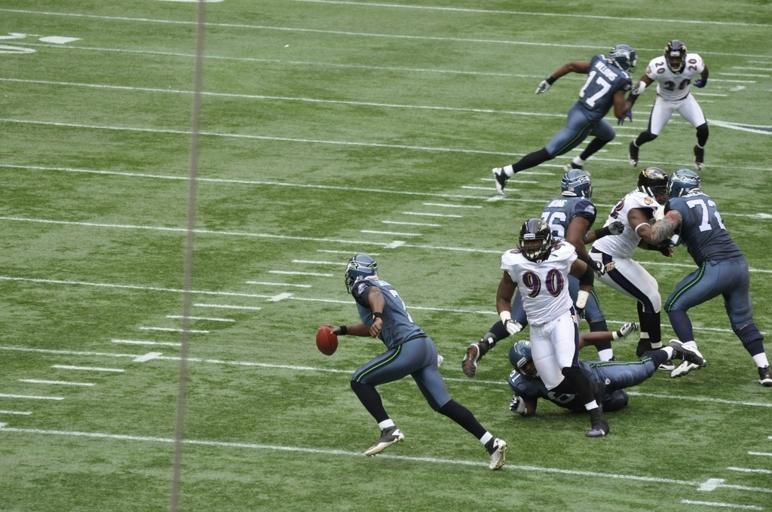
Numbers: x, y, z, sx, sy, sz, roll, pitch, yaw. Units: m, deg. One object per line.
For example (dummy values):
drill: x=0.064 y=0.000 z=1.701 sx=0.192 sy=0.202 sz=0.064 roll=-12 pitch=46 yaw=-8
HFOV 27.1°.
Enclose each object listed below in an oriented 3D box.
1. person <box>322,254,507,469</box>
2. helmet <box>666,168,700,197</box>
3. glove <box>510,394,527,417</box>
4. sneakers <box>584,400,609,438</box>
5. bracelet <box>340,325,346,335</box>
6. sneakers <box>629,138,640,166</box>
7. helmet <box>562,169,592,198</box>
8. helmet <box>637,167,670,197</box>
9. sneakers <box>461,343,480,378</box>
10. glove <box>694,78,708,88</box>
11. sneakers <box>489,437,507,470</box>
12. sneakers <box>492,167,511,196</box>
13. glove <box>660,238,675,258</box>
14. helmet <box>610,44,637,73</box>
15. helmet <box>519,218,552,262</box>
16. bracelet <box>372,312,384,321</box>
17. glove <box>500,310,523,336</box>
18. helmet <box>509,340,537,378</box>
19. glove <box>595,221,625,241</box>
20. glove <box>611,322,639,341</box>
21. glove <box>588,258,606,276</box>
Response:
person: x=0.212 y=1.030 z=15.710 sx=1.712 sy=1.971 sz=0.703 roll=5 pitch=12 yaw=26
helmet: x=3.193 y=-0.766 z=17.264 sx=0.311 sy=0.289 sz=0.395 roll=1 pitch=9 yaw=4
glove: x=1.342 y=1.535 z=16.387 sx=0.169 sy=0.136 sz=0.236 roll=9 pitch=-12 yaw=15
sneakers: x=2.112 y=1.623 z=16.070 sx=0.225 sy=0.362 sz=0.253 roll=2 pitch=10 yaw=9
bracelet: x=-0.425 y=0.735 z=16.065 sx=0.097 sy=0.066 sz=0.080 roll=0 pitch=-10 yaw=1
sneakers: x=3.409 y=-1.417 z=22.189 sx=0.171 sy=0.338 sz=0.178 roll=-3 pitch=12 yaw=-3
helmet: x=2.082 y=-0.788 z=17.473 sx=0.405 sy=0.276 sz=0.315 roll=-6 pitch=10 yaw=-38
helmet: x=2.870 y=-0.822 z=17.406 sx=0.413 sy=0.284 sz=0.268 roll=-12 pitch=36 yaw=-1
sneakers: x=0.832 y=1.090 z=16.652 sx=0.217 sy=0.324 sz=0.184 roll=5 pitch=12 yaw=0
glove: x=4.470 y=-2.471 z=22.933 sx=0.155 sy=0.110 sz=0.301 roll=-4 pitch=2 yaw=10
sneakers: x=1.067 y=1.935 z=15.588 sx=0.205 sy=0.316 sz=0.138 roll=17 pitch=29 yaw=23
sneakers: x=1.493 y=-1.019 z=21.222 sx=0.264 sy=0.439 sz=0.140 roll=-14 pitch=54 yaw=9
glove: x=3.021 y=-0.090 z=17.360 sx=0.128 sy=0.235 sz=0.407 roll=2 pitch=9 yaw=10
helmet: x=3.186 y=-2.604 z=21.030 sx=0.466 sy=0.324 sz=0.288 roll=-9 pitch=45 yaw=-5
helmet: x=1.488 y=-0.141 z=16.007 sx=0.404 sy=0.330 sz=0.456 roll=-3 pitch=15 yaw=21
bracelet: x=-0.082 y=0.590 z=15.697 sx=0.077 sy=0.055 sz=0.084 roll=2 pitch=-30 yaw=0
glove: x=1.236 y=0.682 z=16.074 sx=0.165 sy=0.087 sz=0.295 roll=-31 pitch=23 yaw=-9
helmet: x=1.386 y=1.037 z=16.302 sx=0.238 sy=0.352 sz=0.323 roll=-1 pitch=10 yaw=-8
glove: x=2.439 y=-0.266 z=17.482 sx=0.352 sy=0.092 sz=0.096 roll=-13 pitch=12 yaw=-4
glove: x=2.475 y=0.776 z=16.804 sx=0.227 sy=0.194 sz=0.378 roll=2 pitch=9 yaw=6
glove: x=2.249 y=0.125 z=17.194 sx=0.292 sy=0.116 sz=0.102 roll=31 pitch=12 yaw=-44
